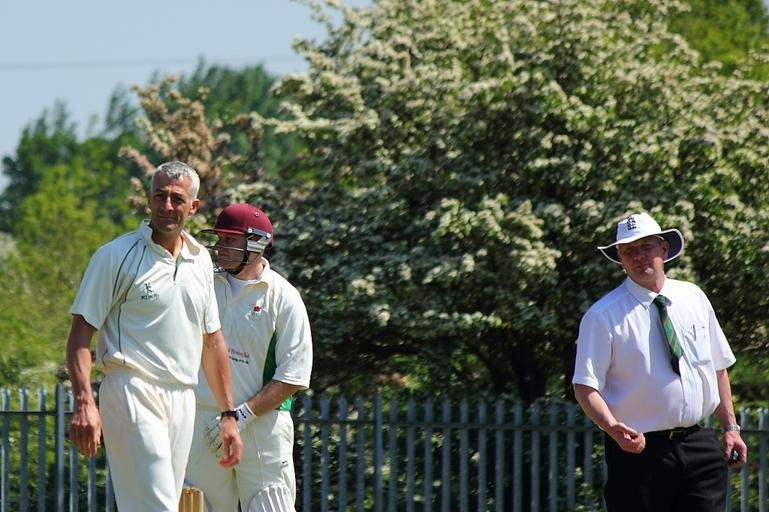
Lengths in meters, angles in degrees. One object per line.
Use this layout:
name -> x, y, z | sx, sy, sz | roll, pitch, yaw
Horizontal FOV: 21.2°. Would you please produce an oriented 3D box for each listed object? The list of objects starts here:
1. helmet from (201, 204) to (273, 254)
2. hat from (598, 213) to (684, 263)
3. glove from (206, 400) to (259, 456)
helmet -> -1.550, -0.300, 22.671 | 0.744, 0.328, 0.509 | 14, -6, -18
hat -> 2.896, -0.226, 22.835 | 0.774, 0.320, 0.735 | -7, -25, 5
glove -> -1.688, 1.891, 22.408 | 0.656, 0.424, 0.239 | -27, 22, 0
